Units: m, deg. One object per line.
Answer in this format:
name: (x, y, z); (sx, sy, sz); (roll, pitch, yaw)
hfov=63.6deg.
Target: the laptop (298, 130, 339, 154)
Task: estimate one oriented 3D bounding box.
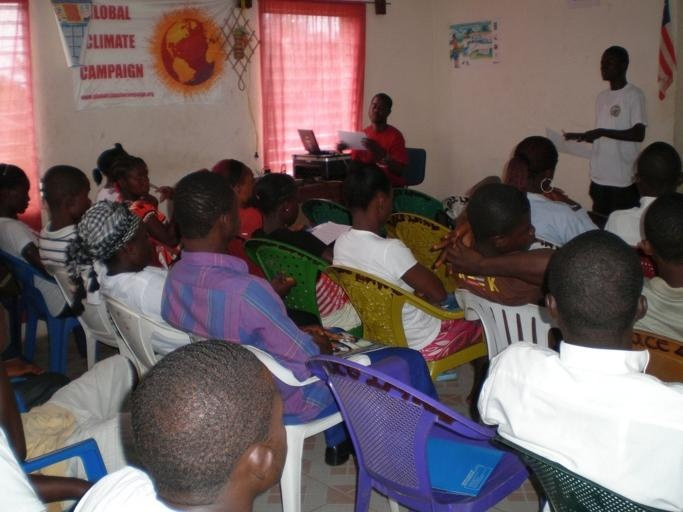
laptop: (-0.255, -1.226, 5.856); (0.317, 0.288, 0.295); (-12, 18, -39)
